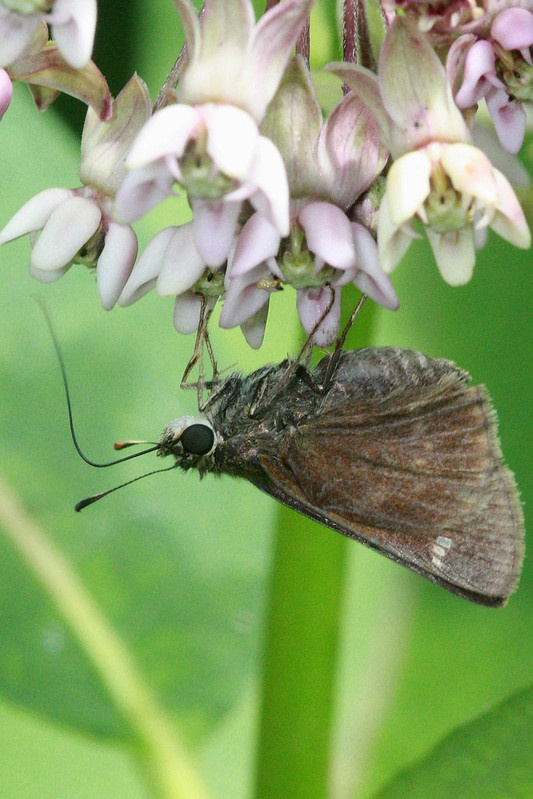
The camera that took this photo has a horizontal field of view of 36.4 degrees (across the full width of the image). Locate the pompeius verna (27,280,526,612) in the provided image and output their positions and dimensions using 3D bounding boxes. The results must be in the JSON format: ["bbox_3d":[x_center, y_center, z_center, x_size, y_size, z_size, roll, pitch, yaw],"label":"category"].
[{"bbox_3d":[0.010,0.044,0.938,0.483,0.262,0.280,3,26,-4],"label":"pompeius verna"}]
